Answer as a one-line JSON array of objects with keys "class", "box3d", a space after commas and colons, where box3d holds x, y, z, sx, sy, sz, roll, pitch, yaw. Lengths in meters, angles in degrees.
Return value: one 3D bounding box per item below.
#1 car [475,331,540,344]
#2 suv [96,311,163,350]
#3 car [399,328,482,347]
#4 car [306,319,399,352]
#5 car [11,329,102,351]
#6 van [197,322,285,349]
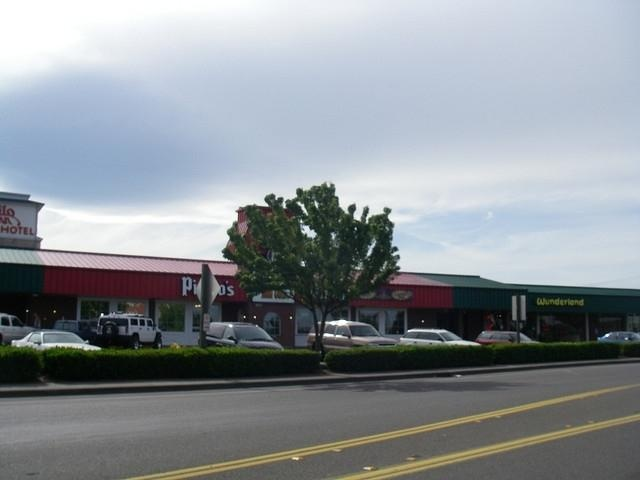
[{"class": "car", "box3d": [9.929, 5.185, 40.116, 2.548, 0.868, 6.895, -2, -10, 9]}, {"class": "suv", "box3d": [-9.462, 4.360, 36.262, 1.523, 1.498, 3.103, -2, -4, 25]}, {"class": "car", "box3d": [5.402, 4.615, 35.198, 3.030, 1.177, 1.467, -9, -9, 36]}, {"class": "car", "box3d": [1.580, 4.270, 33.361, 1.649, 1.421, 3.133, 6, -13, -41]}, {"class": "car", "box3d": [-10.441, 3.981, 29.654, 2.057, 0.678, 1.220, -3, -5, 13]}, {"class": "van", "box3d": [-3.206, 3.783, 29.709, 3.076, 1.125, 1.874, -4, -10, 21]}]
